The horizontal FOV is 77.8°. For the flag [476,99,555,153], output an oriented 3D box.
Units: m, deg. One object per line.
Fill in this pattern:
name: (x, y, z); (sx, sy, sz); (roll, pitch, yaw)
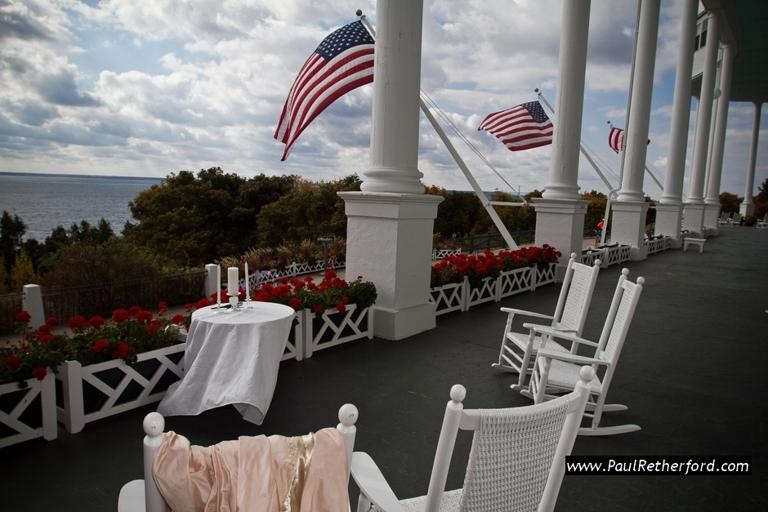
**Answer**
flag: (3.920, -3.857, 13.889); (2.002, 1.411, 0.646); (-2, 5, -6)

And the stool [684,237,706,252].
stool: (11.803, -0.517, 18.169); (0.780, 0.513, 0.796); (0, 2, 39)
